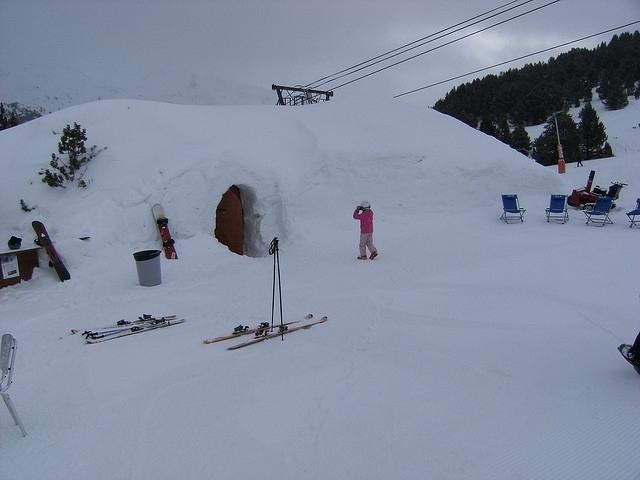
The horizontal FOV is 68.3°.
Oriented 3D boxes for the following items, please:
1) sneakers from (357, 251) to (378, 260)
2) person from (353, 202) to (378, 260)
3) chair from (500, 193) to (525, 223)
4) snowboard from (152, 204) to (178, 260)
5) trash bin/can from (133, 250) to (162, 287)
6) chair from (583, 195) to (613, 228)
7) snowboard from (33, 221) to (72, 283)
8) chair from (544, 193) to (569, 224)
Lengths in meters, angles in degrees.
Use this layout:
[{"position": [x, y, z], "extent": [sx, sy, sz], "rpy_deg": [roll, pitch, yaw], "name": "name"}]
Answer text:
[{"position": [1.204, 0.363, 11.655], "extent": [0.547, 0.293, 0.191], "rpy_deg": [3, 2, 18], "name": "sneakers"}, {"position": [1.198, -0.347, 12.173], "extent": [0.505, 1.524, 1.588], "rpy_deg": [-3, 13, 7], "name": "person"}, {"position": [5.708, -0.946, 14.125], "extent": [0.621, 1.003, 0.986], "rpy_deg": [1, 6, 21], "name": "chair"}, {"position": [-3.837, -0.150, 11.661], "extent": [0.261, 1.284, 0.292], "rpy_deg": [-14, -11, -30], "name": "snowboard"}, {"position": [-3.588, 0.587, 10.095], "extent": [0.650, 0.769, 0.592], "rpy_deg": [-7, 11, -28], "name": "trash bin/can"}, {"position": [7.797, -0.794, 13.560], "extent": [0.731, 1.170, 1.103], "rpy_deg": [1, 2, 41], "name": "chair"}, {"position": [-5.894, 0.313, 10.383], "extent": [0.319, 1.823, 0.257], "rpy_deg": [-19, -24, -20], "name": "snowboard"}, {"position": [6.967, -0.968, 13.917], "extent": [0.593, 0.771, 1.114], "rpy_deg": [-1, 22, 26], "name": "chair"}]
